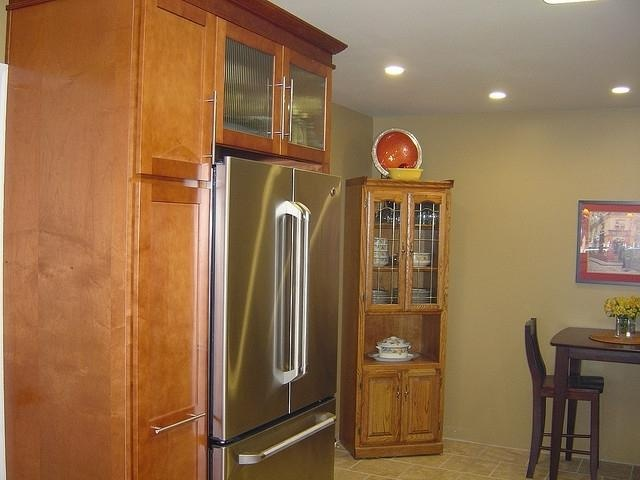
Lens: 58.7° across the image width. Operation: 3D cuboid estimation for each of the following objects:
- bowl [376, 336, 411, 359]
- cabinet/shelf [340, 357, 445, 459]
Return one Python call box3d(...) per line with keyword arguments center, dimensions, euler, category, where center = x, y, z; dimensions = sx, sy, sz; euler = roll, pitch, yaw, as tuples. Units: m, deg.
box3d(center=(0.630, 0.912, 4.872), dimensions=(0.236, 0.118, 0.172), euler=(2, -4, -14), category="bowl")
box3d(center=(0.599, 1.426, 4.913), dimensions=(0.817, 0.758, 0.458), euler=(4, -5, -19), category="cabinet/shelf")
